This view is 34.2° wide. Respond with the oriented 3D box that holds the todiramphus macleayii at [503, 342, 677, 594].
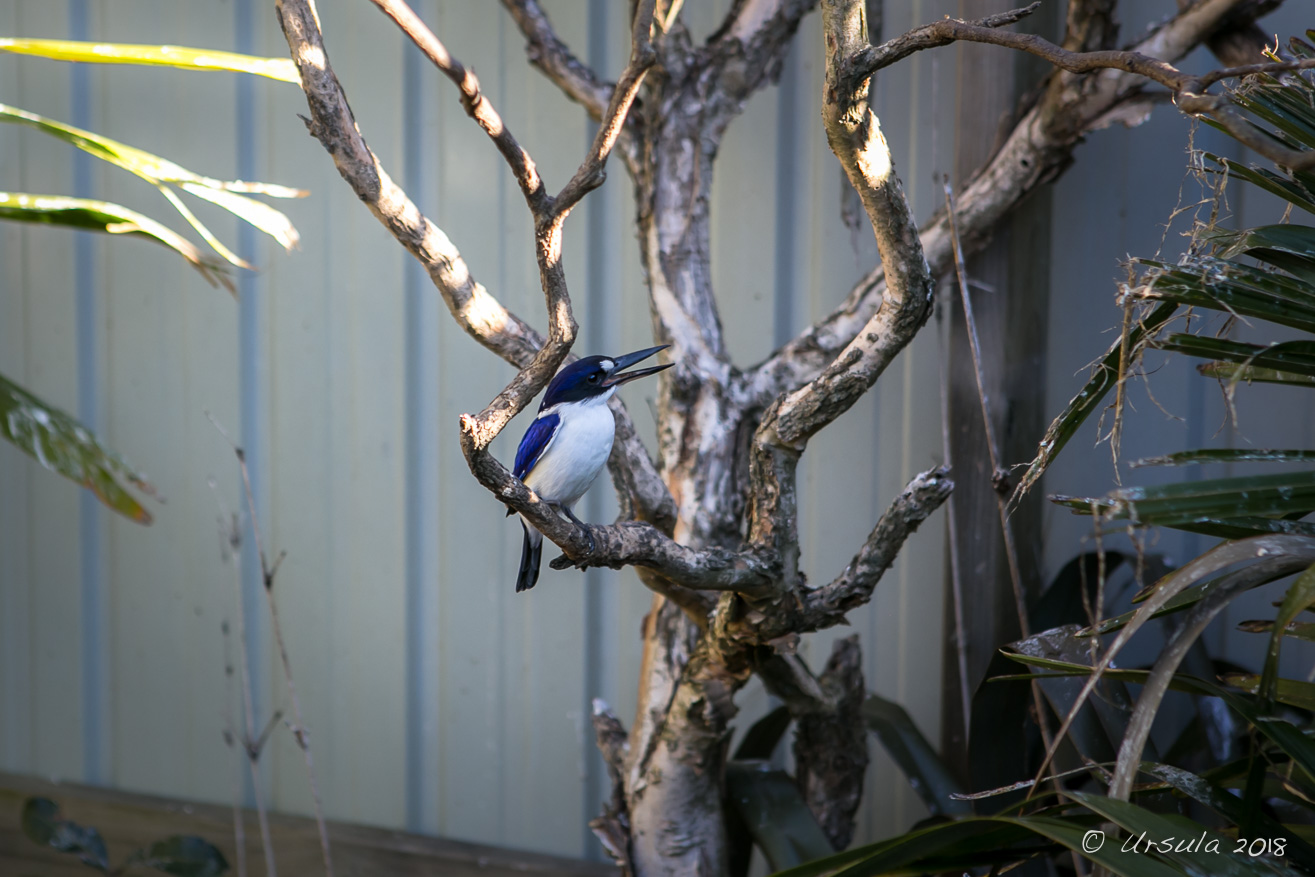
[{"bbox_3d":[-0.193,-0.055,5.877,0.540,0.428,0.270,-26,-37,29],"label":"todiramphus macleayii"}]
